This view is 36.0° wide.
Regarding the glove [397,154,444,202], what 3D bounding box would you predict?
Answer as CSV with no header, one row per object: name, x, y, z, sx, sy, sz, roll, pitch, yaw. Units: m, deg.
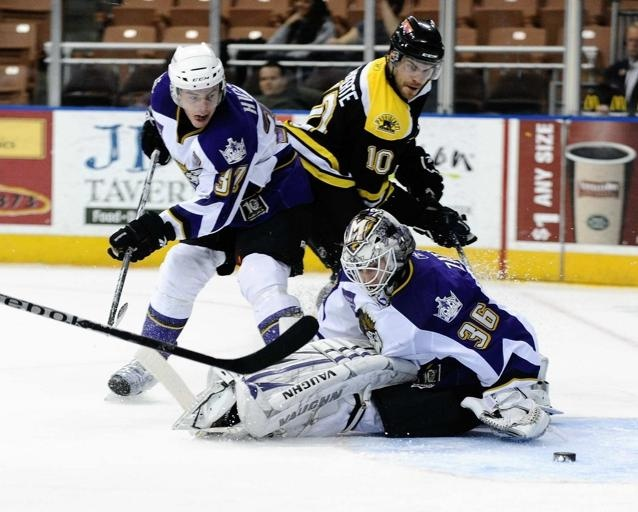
glove,0.510,-0.372,4.668,0.166,0.260,0.096,-38,17,24

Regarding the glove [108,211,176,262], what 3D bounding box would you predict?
glove,-0.693,-0.070,3.874,0.270,0.101,0.183,-28,27,-14

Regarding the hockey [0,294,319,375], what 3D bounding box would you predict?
hockey,-0.536,0.291,3.589,1.031,0.211,0.174,3,12,9

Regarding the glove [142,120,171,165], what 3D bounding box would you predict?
glove,-0.727,-0.516,4.378,0.079,0.190,0.153,-31,38,-32

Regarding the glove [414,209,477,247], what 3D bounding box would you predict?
glove,0.608,-0.121,4.676,0.270,0.168,0.100,27,-8,-8

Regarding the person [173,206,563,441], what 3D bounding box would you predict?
person,0.173,0.289,3.481,1.114,0.484,1.040,-4,5,-33

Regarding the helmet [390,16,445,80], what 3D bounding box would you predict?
helmet,0.424,-0.876,4.175,0.204,0.256,0.221,7,13,26

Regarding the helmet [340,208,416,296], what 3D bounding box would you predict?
helmet,0.212,-0.003,3.590,0.248,0.284,0.141,2,12,4

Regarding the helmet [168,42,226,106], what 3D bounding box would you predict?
helmet,-0.484,-0.700,3.818,0.200,0.237,0.279,-7,14,-34
